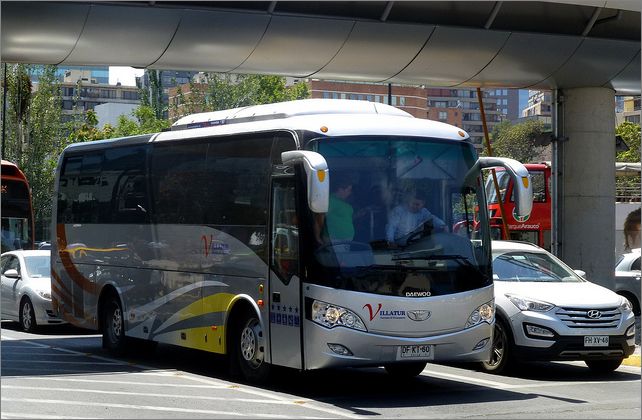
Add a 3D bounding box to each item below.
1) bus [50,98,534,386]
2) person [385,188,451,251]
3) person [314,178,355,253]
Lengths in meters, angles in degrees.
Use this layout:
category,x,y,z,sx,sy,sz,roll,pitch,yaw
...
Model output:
category,x,y,z,sx,sy,sz,roll,pitch,yaw
bus,-1.597,0.513,15.828,11.648,5.332,3.687,3,10,45
person,1.532,0.345,12.679,0.933,1.288,0.720,4,21,-18
person,0.252,0.079,12.470,0.665,1.194,0.410,-6,8,-13
